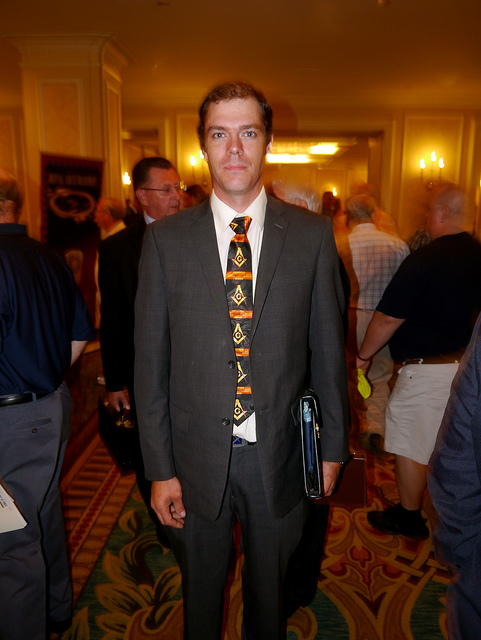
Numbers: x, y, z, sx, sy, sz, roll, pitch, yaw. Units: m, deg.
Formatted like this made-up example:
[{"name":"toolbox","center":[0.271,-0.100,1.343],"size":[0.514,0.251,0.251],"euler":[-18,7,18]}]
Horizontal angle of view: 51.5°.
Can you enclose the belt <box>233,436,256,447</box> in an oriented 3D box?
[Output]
[{"name":"belt","center":[0.003,0.297,1.220],"size":[0.033,0.015,0.023],"euler":[14,-18,-8]}]

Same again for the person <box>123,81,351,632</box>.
[{"name":"person","center":[0.014,0.131,1.280],"size":[0.558,1.392,0.375],"euler":[-3,17,-11]}]
